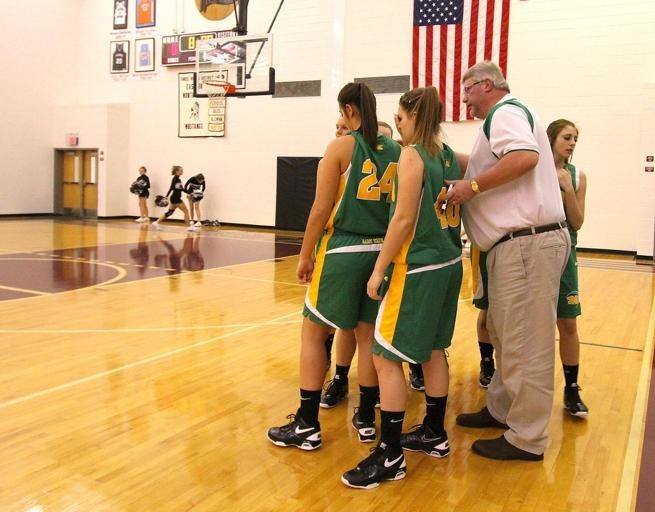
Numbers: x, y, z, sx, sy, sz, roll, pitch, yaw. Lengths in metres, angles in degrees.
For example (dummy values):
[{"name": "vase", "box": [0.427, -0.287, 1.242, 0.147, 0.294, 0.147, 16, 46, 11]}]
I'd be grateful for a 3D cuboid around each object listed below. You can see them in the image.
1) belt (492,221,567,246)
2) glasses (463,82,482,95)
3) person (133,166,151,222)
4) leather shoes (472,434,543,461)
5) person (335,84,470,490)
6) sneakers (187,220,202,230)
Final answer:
[{"name": "belt", "box": [1.009, -0.096, 2.427, 0.351, 0.134, 0.149, 0, 10, -14]}, {"name": "glasses", "box": [0.712, -0.829, 2.451, 0.051, 0.015, 0.051, -27, -3, -8]}, {"name": "person", "box": [-5.983, -1.968, 15.902, 0.588, 1.741, 1.136, -2, 10, -20]}, {"name": "leather shoes", "box": [0.898, 0.981, 2.508, 0.336, 0.142, 0.130, 5, -6, 10]}, {"name": "person", "box": [0.372, 0.150, 2.238, 0.316, 1.800, 0.568, 8, 11, 31]}, {"name": "sneakers", "box": [-3.735, -0.808, 13.829, 0.199, 0.241, 0.558, -1, -5, -6]}]
